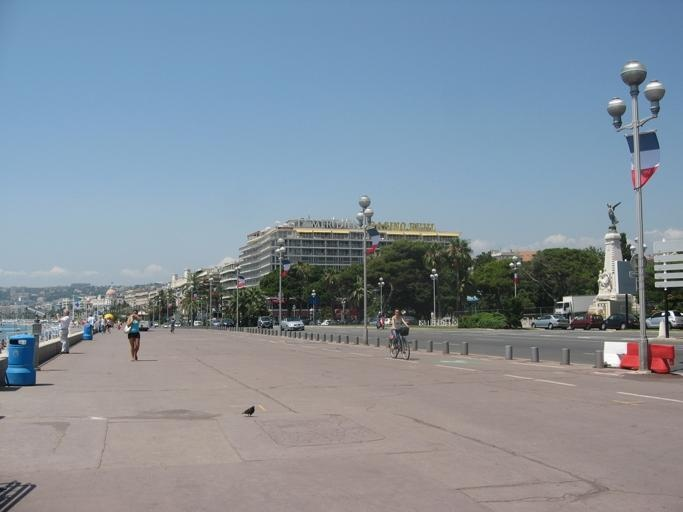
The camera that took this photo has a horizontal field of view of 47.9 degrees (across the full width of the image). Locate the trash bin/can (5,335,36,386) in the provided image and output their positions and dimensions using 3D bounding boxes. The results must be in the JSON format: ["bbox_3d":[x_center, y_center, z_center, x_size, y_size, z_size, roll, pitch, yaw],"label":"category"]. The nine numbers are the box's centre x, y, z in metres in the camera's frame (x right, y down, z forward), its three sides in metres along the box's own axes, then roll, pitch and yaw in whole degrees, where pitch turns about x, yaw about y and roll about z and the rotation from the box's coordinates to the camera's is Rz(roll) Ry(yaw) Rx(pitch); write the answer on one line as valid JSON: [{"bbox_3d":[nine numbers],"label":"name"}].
[{"bbox_3d":[-8.335,2.718,20.053,0.716,1.324,0.733,2,-7,-23],"label":"trash bin/can"}]

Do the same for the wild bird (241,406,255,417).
[{"bbox_3d":[-1.908,3.151,15.560,0.349,0.262,0.171,-1,0,14],"label":"wild bird"}]

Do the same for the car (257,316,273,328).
[{"bbox_3d":[-8.611,7.515,87.375,1.148,1.023,2.124,1,-10,-15],"label":"car"}]

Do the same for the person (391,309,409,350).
[{"bbox_3d":[2.229,2.987,30.371,0.939,1.469,1.478,1,5,-5],"label":"person"}]
